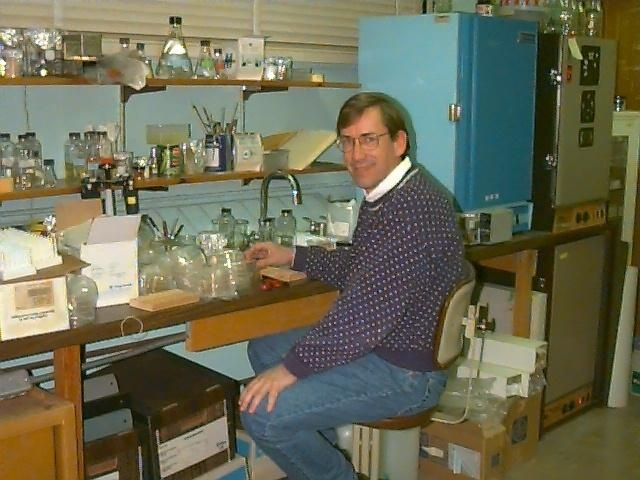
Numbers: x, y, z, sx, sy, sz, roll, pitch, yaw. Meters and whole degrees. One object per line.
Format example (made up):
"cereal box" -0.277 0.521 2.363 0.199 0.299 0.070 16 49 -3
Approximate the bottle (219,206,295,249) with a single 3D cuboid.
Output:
"bottle" -0.307 -0.043 2.851 0.251 0.156 0.253 0 8 0

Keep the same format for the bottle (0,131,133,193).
"bottle" -1.021 -0.325 2.358 0.486 0.232 0.442 -8 13 -19

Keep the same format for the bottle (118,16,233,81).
"bottle" -0.561 -0.844 2.630 0.576 0.338 0.208 -11 17 -43

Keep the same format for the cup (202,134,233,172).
"cup" -0.462 -0.395 2.639 0.142 0.165 0.068 -7 12 -12
